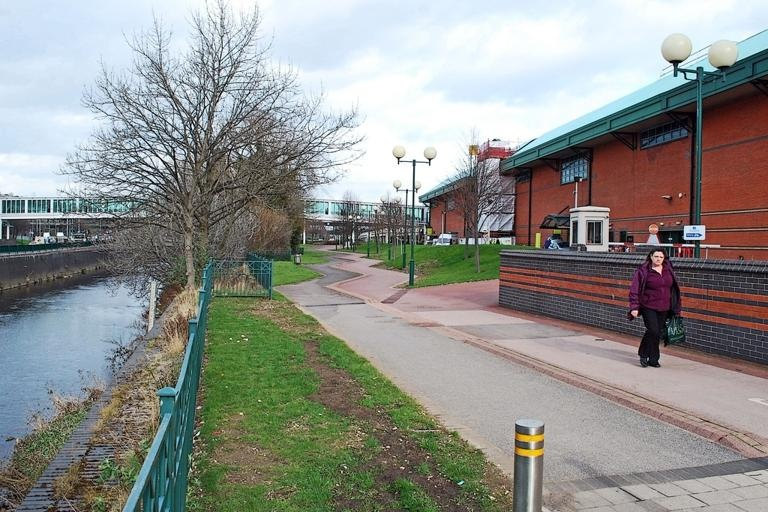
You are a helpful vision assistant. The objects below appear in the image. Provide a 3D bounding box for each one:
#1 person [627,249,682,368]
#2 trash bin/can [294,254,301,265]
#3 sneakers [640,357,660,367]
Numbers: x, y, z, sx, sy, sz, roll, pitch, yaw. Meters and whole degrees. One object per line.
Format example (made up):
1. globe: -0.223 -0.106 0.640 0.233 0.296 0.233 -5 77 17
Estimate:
1. person: 5.450 1.071 11.265 1.071 2.437 0.451 0 10 -7
2. trash bin/can: -6.984 0.298 43.898 0.683 0.985 0.681 -3 9 -16
3. sneakers: 5.483 2.189 11.399 0.438 0.191 0.163 -2 -2 31
